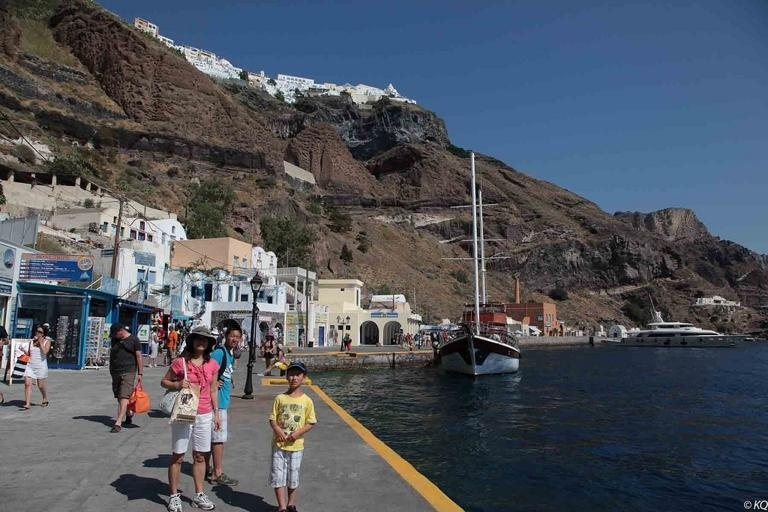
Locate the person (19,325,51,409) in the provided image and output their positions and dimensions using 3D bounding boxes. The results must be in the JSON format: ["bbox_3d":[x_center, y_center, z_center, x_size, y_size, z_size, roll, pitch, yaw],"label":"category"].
[{"bbox_3d":[-10.719,3.268,18.388,1.001,2.813,0.959,6,2,10],"label":"person"}]

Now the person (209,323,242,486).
[{"bbox_3d":[-3.854,3.485,14.148,0.849,3.489,0.814,2,1,-10],"label":"person"}]

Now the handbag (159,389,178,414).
[{"bbox_3d":[-4.659,3.133,12.864,0.265,0.469,0.512,8,-11,-43],"label":"handbag"}]
